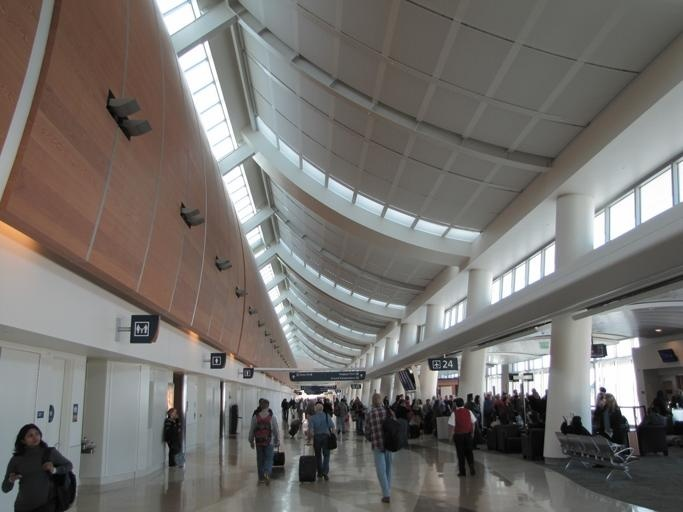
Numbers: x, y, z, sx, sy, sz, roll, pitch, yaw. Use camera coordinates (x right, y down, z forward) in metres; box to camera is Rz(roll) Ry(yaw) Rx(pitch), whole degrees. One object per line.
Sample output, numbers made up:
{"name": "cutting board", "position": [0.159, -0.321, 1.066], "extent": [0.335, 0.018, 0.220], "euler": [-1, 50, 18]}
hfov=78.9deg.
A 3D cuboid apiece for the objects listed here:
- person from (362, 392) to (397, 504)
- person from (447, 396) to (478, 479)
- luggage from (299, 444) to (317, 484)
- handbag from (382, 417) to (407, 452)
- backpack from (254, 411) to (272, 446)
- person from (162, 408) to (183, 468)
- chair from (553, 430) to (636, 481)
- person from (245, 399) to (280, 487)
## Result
{"name": "person", "position": [0.776, 3.790, 8.416], "extent": [0.524, 1.968, 1.272], "euler": [-1, -19, 4]}
{"name": "person", "position": [3.008, 4.432, 10.223], "extent": [0.575, 1.774, 0.881], "euler": [-5, -19, 15]}
{"name": "luggage", "position": [-0.778, 5.013, 9.836], "extent": [0.393, 0.560, 0.403], "euler": [4, -20, -10]}
{"name": "handbag", "position": [1.117, 3.452, 8.137], "extent": [0.536, 0.626, 0.303], "euler": [11, -12, -37]}
{"name": "backpack", "position": [-1.801, 4.155, 9.740], "extent": [0.443, 0.876, 0.611], "euler": [-1, -49, -6]}
{"name": "person", "position": [-5.215, 5.639, 12.999], "extent": [0.511, 1.615, 1.182], "euler": [3, -20, -8]}
{"name": "chair", "position": [6.433, 5.106, 10.635], "extent": [0.741, 0.786, 1.453], "euler": [0, -17, -10]}
{"name": "person", "position": [-1.801, 4.298, 9.720], "extent": [0.604, 1.853, 0.562], "euler": [0, 0, 10]}
